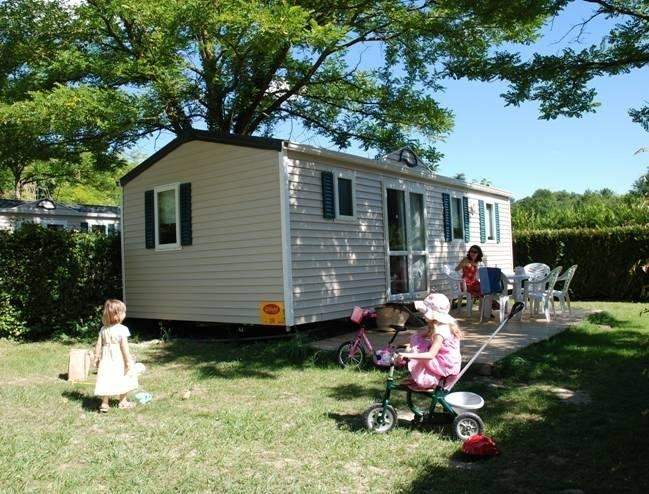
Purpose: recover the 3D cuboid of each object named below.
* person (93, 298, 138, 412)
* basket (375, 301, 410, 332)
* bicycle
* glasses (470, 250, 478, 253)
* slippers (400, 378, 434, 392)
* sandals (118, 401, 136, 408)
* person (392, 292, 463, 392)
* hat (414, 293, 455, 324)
[{"bbox_3d":[-2.572,1.341,7.337,0.508,1.344,0.416,2,-2,-20],"label":"person"},{"bbox_3d":[1.281,1.362,11.342,0.731,0.529,0.540,1,-3,-1],"label":"basket"},{"bbox_3d":[0.850,1.459,9.038,1.463,0.788,0.643,4,-6,-18],"label":"bicycle"},{"bbox_3d":[3.135,0.116,12.394,0.147,0.066,0.076,1,-2,4],"label":"glasses"},{"bbox_3d":[0.978,1.524,6.461,0.380,0.130,0.133,-5,-5,29],"label":"slippers"},{"bbox_3d":[-2.465,1.959,7.322,0.178,0.055,0.096,-5,-6,43],"label":"sandals"},{"bbox_3d":[1.149,1.043,6.444,0.687,1.038,0.416,1,-2,-2],"label":"person"},{"bbox_3d":[1.181,0.687,6.511,0.222,0.431,0.388,-30,21,-18],"label":"hat"}]
